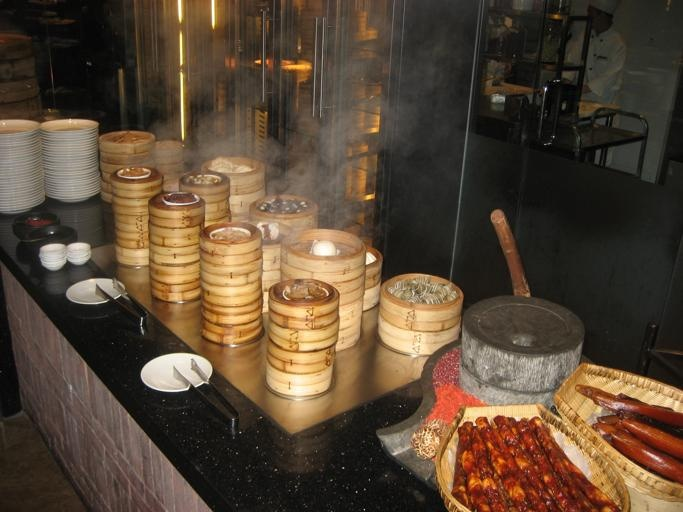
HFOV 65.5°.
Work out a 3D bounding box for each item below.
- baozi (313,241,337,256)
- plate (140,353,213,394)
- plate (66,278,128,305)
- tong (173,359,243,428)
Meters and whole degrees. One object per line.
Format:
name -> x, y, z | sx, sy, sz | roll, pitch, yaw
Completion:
baozi -> -0.060, -0.026, 1.878 | 0.061, 0.036, 0.059 | 1, 9, 3
plate -> -0.547, 0.384, 1.750 | 0.146, 0.025, 0.141 | -3, 27, -23
plate -> -1.015, 0.143, 2.202 | 0.152, 0.031, 0.148 | -3, 28, -27
tong -> -0.457, 0.435, 1.742 | 0.097, 0.076, 0.417 | -12, 33, -36
